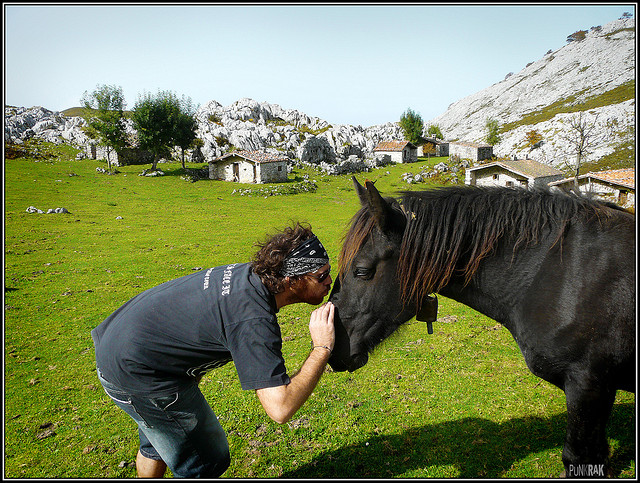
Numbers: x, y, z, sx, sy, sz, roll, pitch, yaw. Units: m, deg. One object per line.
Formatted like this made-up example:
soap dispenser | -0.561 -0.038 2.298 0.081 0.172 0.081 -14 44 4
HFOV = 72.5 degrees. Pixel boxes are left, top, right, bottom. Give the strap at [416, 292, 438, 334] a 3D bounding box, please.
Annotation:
strap | 1.280 0.892 5.335 0.331 0.504 0.308 6 -11 -26

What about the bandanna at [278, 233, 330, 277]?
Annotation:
bandanna | -0.199 0.114 4.817 0.508 0.300 0.412 -26 -2 16
